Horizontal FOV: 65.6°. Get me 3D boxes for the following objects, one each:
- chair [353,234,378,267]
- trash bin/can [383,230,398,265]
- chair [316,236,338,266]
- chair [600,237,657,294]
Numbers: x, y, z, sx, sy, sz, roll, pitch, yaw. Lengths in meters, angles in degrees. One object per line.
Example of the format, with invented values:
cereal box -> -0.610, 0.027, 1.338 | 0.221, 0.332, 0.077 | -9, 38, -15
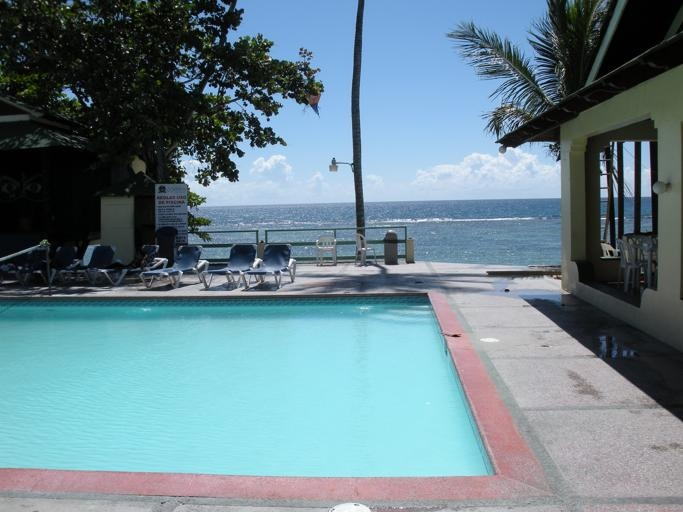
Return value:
chair -> 0.774, -0.278, 17.086 | 0.614, 0.926, 0.593 | -3, 4, -4
trash bin/can -> 1.573, -0.301, 16.811 | 0.454, 1.030, 0.547 | -2, 11, 3
chair -> -0.476, -0.207, 16.969 | 0.675, 0.876, 0.613 | -3, 11, 0
chair -> 5.288, 0.192, 9.702 | 0.835, 1.167, 0.632 | -12, 17, -12
